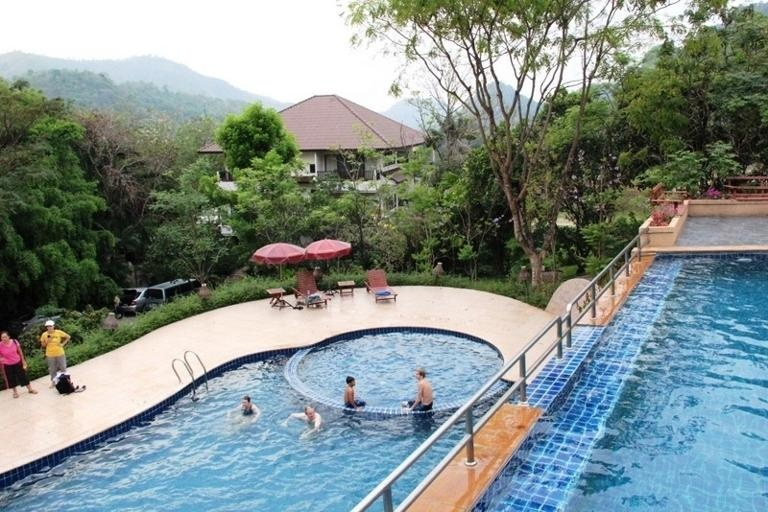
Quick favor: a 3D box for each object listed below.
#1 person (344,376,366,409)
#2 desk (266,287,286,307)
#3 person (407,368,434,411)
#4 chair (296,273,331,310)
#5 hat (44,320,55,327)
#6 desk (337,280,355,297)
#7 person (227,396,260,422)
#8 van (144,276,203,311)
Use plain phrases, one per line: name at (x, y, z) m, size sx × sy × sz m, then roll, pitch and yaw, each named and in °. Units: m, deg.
person at (-0.840, 4.116, 15.797) m, size 0.659 × 1.241 × 0.525 m, roll -2°, pitch 4°, yaw -21°
desk at (-4.995, 1.906, 25.069) m, size 0.868 × 0.864 × 0.873 m, roll -1°, pitch 10°, yaw -12°
person at (1.043, 3.929, 15.846) m, size 0.957 × 1.143 × 0.780 m, roll -5°, pitch 7°, yaw -24°
chair at (-3.451, 1.670, 25.071) m, size 0.998 × 0.959 × 2.052 m, roll -3°, pitch 4°, yaw -22°
hat at (-10.851, 2.177, 17.592) m, size 0.356 × 0.191 × 0.510 m, roll 0°, pitch -5°, yaw -18°
desk at (-1.873, 1.579, 26.384) m, size 0.679 × 0.450 × 0.723 m, roll -1°, pitch 2°, yaw -4°
person at (-4.086, 4.334, 15.729) m, size 0.906 × 0.625 × 0.558 m, roll 4°, pitch 14°, yaw 22°
van at (-11.957, 2.005, 30.227) m, size 1.411 × 0.850 × 3.170 m, roll 9°, pitch 17°, yaw 38°
